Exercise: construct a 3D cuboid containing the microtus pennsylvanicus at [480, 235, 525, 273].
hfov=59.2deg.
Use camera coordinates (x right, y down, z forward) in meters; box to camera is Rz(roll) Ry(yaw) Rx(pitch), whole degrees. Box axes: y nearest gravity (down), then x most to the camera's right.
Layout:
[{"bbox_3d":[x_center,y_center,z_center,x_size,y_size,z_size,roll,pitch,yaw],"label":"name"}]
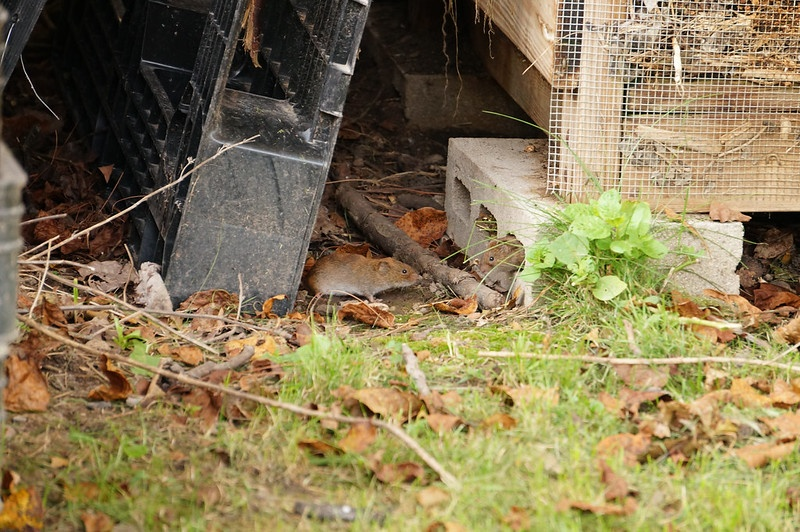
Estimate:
[{"bbox_3d":[0.757,-0.081,5.393,0.361,0.194,0.209,-38,24,11],"label":"microtus pennsylvanicus"}]
